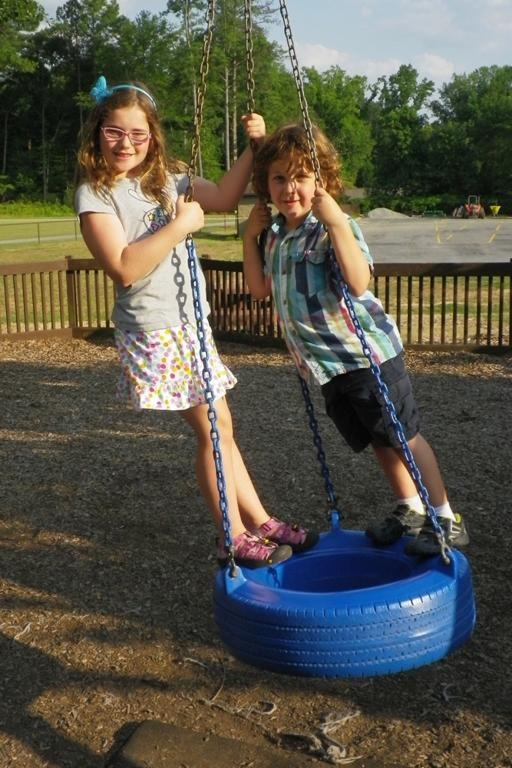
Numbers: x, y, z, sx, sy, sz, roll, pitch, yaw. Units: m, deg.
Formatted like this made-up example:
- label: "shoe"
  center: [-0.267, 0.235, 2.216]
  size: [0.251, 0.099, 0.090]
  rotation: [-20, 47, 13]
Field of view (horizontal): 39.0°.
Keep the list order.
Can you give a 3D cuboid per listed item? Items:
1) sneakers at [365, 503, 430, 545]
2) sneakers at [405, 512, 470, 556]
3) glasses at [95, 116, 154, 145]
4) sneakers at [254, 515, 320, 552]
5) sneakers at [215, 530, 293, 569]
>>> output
- label: "sneakers"
  center: [0.462, 0.457, 2.401]
  size: [0.238, 0.099, 0.086]
  rotation: [-9, 12, -40]
- label: "sneakers"
  center: [0.571, 0.457, 2.221]
  size: [0.095, 0.100, 0.240]
  rotation: [-2, -2, 43]
- label: "glasses"
  center: [-0.383, -0.747, 2.185]
  size: [0.152, 0.063, 0.050]
  rotation: [-7, 14, -22]
- label: "sneakers"
  center: [0.103, 0.486, 2.346]
  size: [0.196, 0.069, 0.081]
  rotation: [5, 40, 23]
- label: "sneakers"
  center: [0.004, 0.494, 2.189]
  size: [0.191, 0.072, 0.103]
  rotation: [-1, 20, -3]
